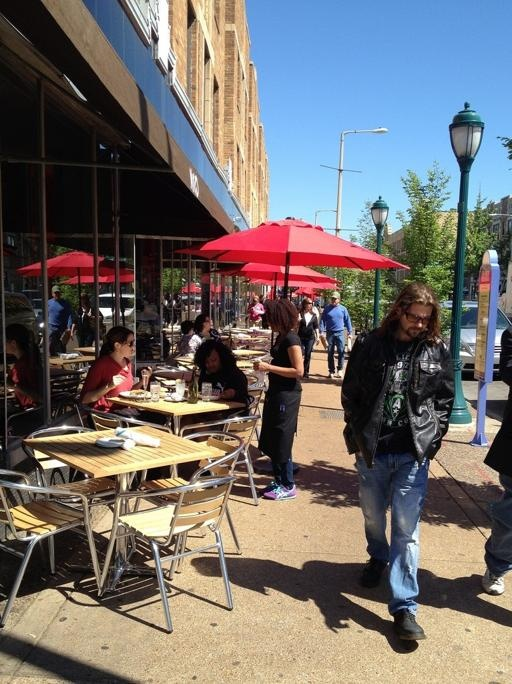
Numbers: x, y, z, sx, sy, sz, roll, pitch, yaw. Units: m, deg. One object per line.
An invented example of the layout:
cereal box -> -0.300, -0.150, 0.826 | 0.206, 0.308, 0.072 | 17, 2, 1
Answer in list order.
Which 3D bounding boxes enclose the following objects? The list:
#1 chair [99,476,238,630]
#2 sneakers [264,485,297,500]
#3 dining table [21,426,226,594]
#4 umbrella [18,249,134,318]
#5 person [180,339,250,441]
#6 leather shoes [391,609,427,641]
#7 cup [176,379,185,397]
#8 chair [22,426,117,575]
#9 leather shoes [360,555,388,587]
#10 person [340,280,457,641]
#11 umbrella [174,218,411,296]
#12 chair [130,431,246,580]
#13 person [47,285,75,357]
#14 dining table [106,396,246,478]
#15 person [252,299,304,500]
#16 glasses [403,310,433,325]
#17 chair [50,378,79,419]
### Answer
chair -> -0.501, 1.077, 2.984 | 0.657, 0.751, 0.689 | 4, 2, -31
sneakers -> 0.217, 1.377, 4.896 | 0.310, 0.118, 0.110 | 0, -3, -8
dining table -> -0.750, 0.759, 3.240 | 0.924, 0.854, 0.916 | -2, 7, -42
umbrella -> -2.283, -0.787, 6.964 | 1.203, 0.819, 1.181 | -1, 5, -29
person -> -0.261, 0.413, 5.650 | 0.805, 1.001, 0.758 | 5, -4, -22
leather shoes -> 0.719, 1.352, 2.541 | 0.079, 0.090, 0.203 | -3, -15, -7
cup -> -0.730, 0.451, 5.114 | 0.075, 0.170, 0.275 | 2, 0, -11
chair -> -1.244, 1.070, 3.715 | 0.581, 0.674, 0.557 | -6, 18, -33
leather shoes -> 0.720, 1.391, 3.234 | 0.090, 0.109, 0.263 | 6, -5, 25
person -> 0.753, 0.572, 2.835 | 0.458, 1.864, 0.612 | 2, 0, -37
umbrella -> 0.657, -1.015, 5.907 | 2.058, 0.776, 2.122 | -4, 12, -32
chair -> -0.329, 1.116, 3.153 | 0.486, 0.580, 0.499 | -12, 1, -19
person -> -2.152, -0.228, 5.906 | 0.177, 0.712, 1.153 | 2, 0, -16
dining table -> -0.701, 0.658, 4.828 | 0.825, 0.775, 0.828 | 9, 9, 43
person -> 0.195, 0.524, 4.791 | 0.399, 1.783, 0.522 | 2, 0, 1
glasses -> 0.812, -0.123, 2.699 | 0.124, 0.065, 0.067 | 1, 0, 16
chair -> -2.098, 0.602, 5.830 | 0.330, 0.459, 0.278 | 7, 3, 25
